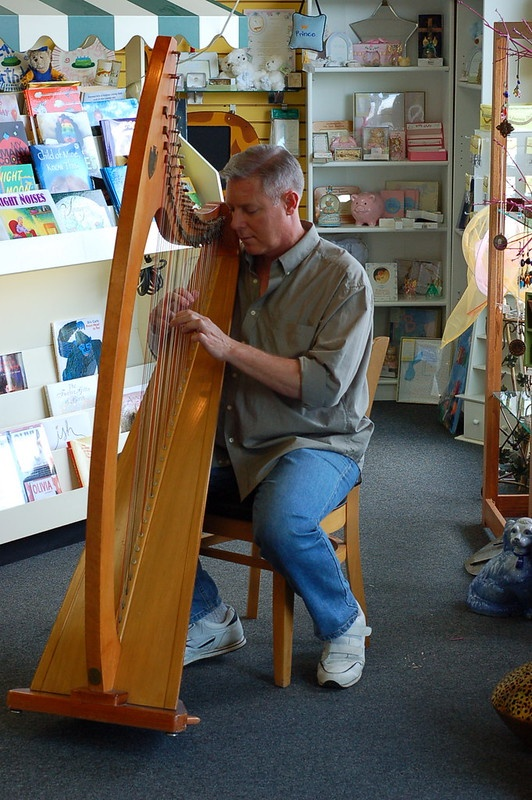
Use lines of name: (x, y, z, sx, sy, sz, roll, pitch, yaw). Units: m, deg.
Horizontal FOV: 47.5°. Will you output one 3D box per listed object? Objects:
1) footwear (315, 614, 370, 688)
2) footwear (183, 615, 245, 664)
footwear: (0.202, 0.652, 1.554, 0.104, 0.125, 0.303, -10, -11, 17)
footwear: (-0.135, 0.640, 1.677, 0.209, 0.095, 0.074, -6, 5, -42)
